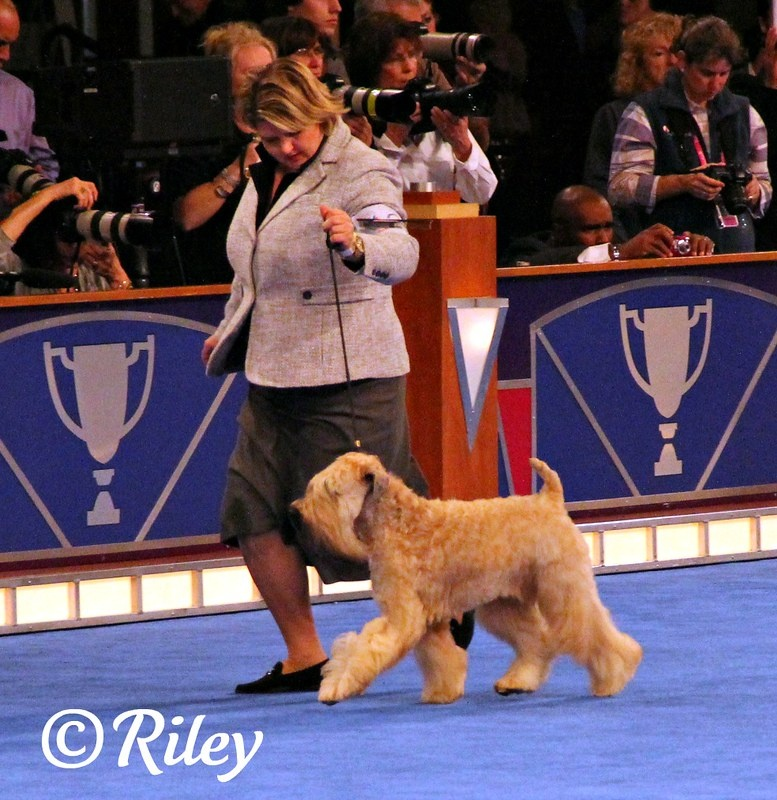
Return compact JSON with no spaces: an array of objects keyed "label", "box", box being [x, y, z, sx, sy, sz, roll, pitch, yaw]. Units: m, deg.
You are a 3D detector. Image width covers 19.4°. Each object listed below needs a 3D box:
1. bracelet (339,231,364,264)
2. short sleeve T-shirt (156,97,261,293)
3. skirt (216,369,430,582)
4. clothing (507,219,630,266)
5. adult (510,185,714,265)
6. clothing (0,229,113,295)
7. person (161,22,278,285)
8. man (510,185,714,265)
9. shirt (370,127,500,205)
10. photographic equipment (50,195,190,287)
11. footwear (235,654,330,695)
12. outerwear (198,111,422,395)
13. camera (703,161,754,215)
[{"label":"bracelet","box":[-0.114,-0.453,6.579,0.042,0.067,0.083,14,-4,3]},{"label":"short sleeve T-shirt","box":[-0.709,-0.771,8.811,0.365,0.655,0.212,0,0,33]},{"label":"skirt","box":[-0.313,0.146,7.138,0.864,0.893,0.528,0,4,-7]},{"label":"clothing","box":[0.651,-0.607,9.124,0.337,0.134,0.273,-11,7,-15]},{"label":"adult","box":[0.875,-0.673,9.028,0.774,0.260,0.533,1,24,8]},{"label":"clothing","box":[-1.257,-0.488,8.451,0.270,0.186,0.269,2,7,-8]},{"label":"person","box":[-0.640,-0.946,8.735,0.501,1.024,0.344,2,4,24]},{"label":"man","box":[0.886,-0.671,9.047,0.647,0.388,0.952,-3,4,-30]},{"label":"shirt","box":[0.179,-0.900,8.680,0.348,0.149,0.353,0,8,-35]},{"label":"photographic equipment","box":[-1.034,-0.591,8.503,0.411,0.446,0.464,2,24,10]},{"label":"footwear","box":[-0.330,0.882,7.183,0.326,0.131,0.115,-4,-3,12]},{"label":"outerwear","box":[-0.226,-0.443,6.939,0.698,0.779,0.503,16,29,36]},{"label":"camera","box":[1.360,-0.867,9.226,0.226,0.183,0.144,-3,-3,-18]}]
